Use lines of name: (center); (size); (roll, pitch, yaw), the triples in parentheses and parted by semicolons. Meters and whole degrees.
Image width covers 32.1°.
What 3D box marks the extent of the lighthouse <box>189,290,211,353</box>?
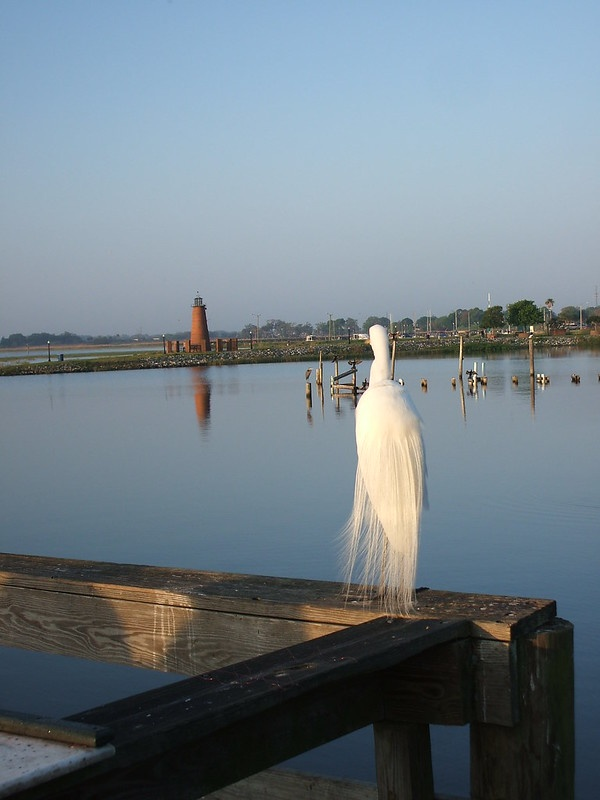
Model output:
lighthouse: (-9.875, -7.142, 101.988); (1.867, 5.265, 6.072); (-4, 5, -6)
